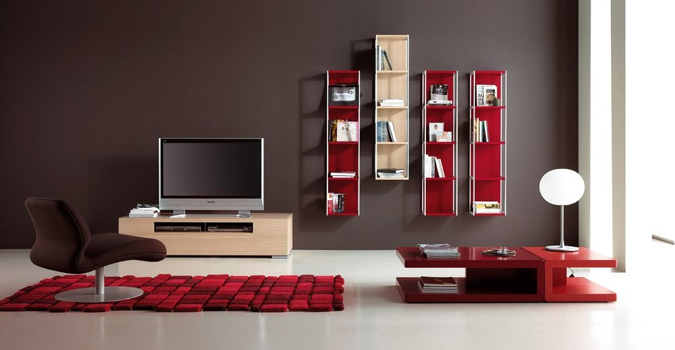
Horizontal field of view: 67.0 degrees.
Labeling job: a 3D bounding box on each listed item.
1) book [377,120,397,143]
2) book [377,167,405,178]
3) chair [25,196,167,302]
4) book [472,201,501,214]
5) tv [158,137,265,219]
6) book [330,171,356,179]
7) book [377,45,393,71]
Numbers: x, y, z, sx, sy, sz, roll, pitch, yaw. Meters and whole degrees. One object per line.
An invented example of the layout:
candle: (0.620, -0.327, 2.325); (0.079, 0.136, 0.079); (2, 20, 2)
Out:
book: (0.799, -0.713, 8.413); (0.324, 0.347, 0.119); (0, 4, 0)
book: (0.869, -0.031, 8.461); (0.439, 0.149, 0.146); (1, 4, 7)
chair: (-3.108, 0.963, 7.050); (1.445, 1.268, 1.760); (1, 1, 36)
book: (2.557, 0.541, 8.534); (0.526, 0.206, 0.193); (0, 4, -9)
tv: (-2.084, 0.020, 8.368); (1.670, 0.945, 0.478); (0, -4, -1)
book: (0.105, -0.002, 8.496); (0.441, 0.111, 0.240); (1, 4, 8)
book: (0.779, -1.918, 8.450); (0.136, 0.349, 0.407); (2, 3, 20)
